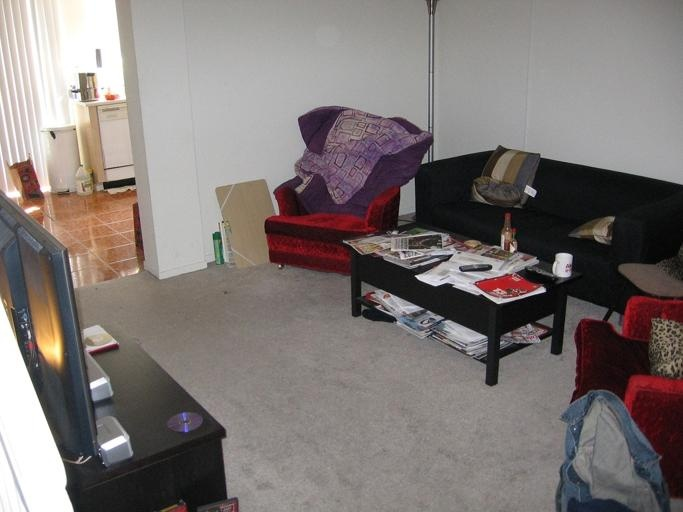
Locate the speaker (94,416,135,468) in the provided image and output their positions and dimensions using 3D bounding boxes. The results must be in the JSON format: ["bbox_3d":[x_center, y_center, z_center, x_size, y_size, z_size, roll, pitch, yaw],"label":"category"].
[{"bbox_3d":[-0.648,0.520,1.475,0.084,0.044,0.140,-14,33,-31],"label":"speaker"}]

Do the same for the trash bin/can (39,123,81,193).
[{"bbox_3d":[-3.535,-1.220,6.623,0.408,0.823,0.245,-12,21,-25],"label":"trash bin/can"}]

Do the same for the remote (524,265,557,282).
[{"bbox_3d":[1.179,0.094,3.105,0.075,0.035,0.131,-6,23,-27],"label":"remote"}]

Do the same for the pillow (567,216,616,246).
[{"bbox_3d":[1.807,-0.214,3.706,0.228,0.093,0.225,-11,15,-26],"label":"pillow"}]

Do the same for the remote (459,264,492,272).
[{"bbox_3d":[0.803,0.068,3.154,0.140,0.033,0.074,0,18,-2],"label":"remote"}]

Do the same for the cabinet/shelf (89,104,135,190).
[{"bbox_3d":[-2.938,-1.402,6.651,0.489,1.067,0.173,-12,22,-26],"label":"cabinet/shelf"}]

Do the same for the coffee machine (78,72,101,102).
[{"bbox_3d":[-3.229,-2.152,6.646,0.232,0.348,0.515,-11,21,-22],"label":"coffee machine"}]

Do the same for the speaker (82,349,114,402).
[{"bbox_3d":[-0.767,0.381,1.648,0.054,0.049,0.243,-8,25,-29],"label":"speaker"}]

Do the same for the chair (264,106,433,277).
[{"bbox_3d":[-0.014,-0.530,4.588,1.214,1.263,1.217,13,22,29],"label":"chair"}]
